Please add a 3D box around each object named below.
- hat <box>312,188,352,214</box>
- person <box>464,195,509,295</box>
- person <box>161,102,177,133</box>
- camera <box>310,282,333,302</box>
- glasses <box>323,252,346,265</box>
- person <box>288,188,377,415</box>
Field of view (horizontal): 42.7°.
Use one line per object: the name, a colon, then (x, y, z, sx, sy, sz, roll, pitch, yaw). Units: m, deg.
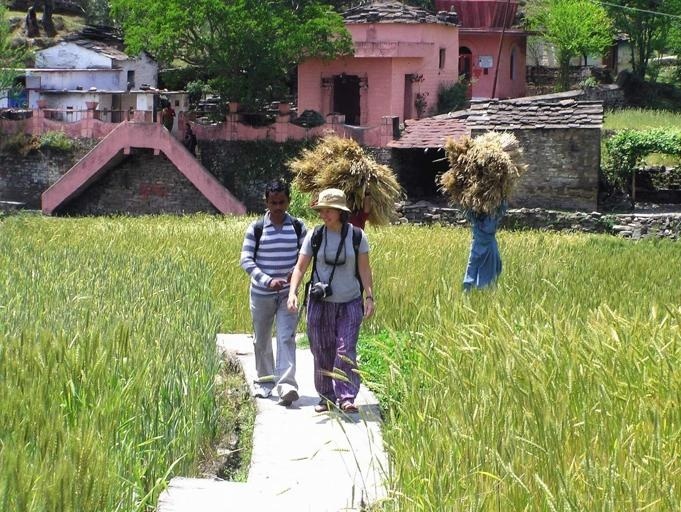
hat: (-0.071, -0.470, 7.401, 0.204, 0.117, 0.218, 5, 1, -22)
person: (1.605, -0.113, 9.848, 0.444, 0.884, 0.702, 2, 13, 10)
person: (-5.041, -3.931, 25.310, 0.377, 0.681, 0.775, 0, 14, 1)
camera: (-0.183, 0.326, 7.419, 0.166, 0.182, 0.121, 22, -15, -24)
glasses: (-0.052, 0.036, 7.411, 0.186, 0.093, 0.028, 0, 12, 2)
person: (-0.090, 0.372, 7.435, 0.704, 1.831, 0.649, 0, 12, 1)
